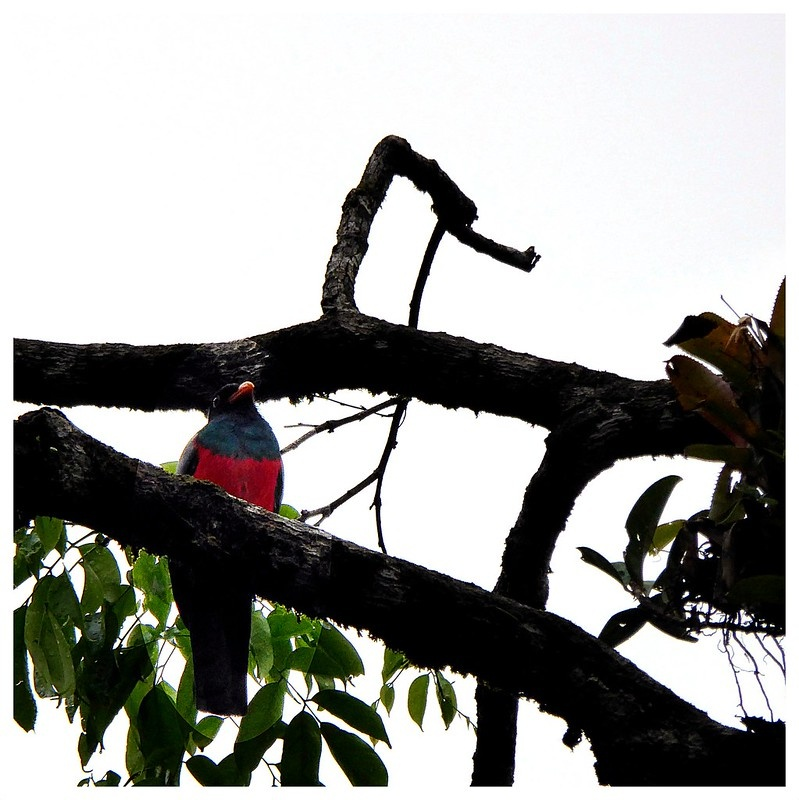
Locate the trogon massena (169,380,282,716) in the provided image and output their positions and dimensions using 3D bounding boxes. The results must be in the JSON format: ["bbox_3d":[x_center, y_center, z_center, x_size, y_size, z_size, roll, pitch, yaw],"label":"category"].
[{"bbox_3d":[-0.447,0.430,4.156,0.241,0.801,0.434,10,-15,-27],"label":"trogon massena"}]
